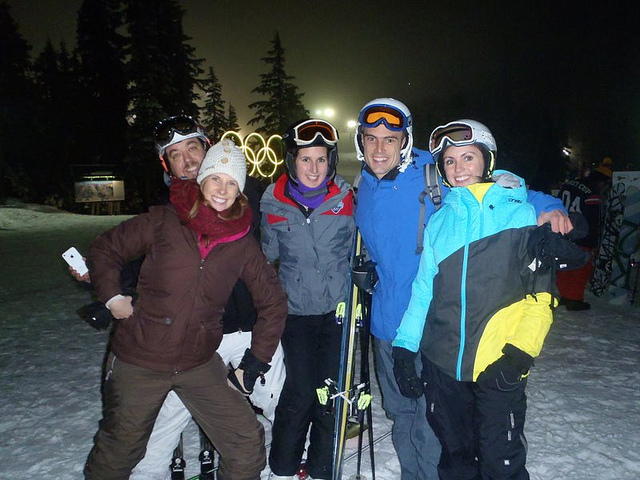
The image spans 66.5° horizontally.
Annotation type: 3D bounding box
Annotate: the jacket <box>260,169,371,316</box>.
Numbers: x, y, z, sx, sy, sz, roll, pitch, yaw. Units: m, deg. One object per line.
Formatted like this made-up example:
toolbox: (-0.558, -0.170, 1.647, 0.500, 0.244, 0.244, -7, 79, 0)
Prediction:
jacket: (-0.027, 0.059, 4.575, 1.245, 1.545, 0.788, -1, 5, -2)

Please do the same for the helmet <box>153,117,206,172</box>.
helmet: (-1.389, -0.956, 4.911, 0.416, 0.548, 0.520, -17, 11, -14)

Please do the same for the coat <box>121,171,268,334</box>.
coat: (-1.022, 0.151, 4.107, 1.334, 1.050, 0.434, -11, 32, -37)

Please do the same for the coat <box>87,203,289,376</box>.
coat: (-1.064, 0.383, 4.085, 1.701, 1.371, 0.918, 18, 2, -26)

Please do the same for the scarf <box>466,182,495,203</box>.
scarf: (1.310, -0.413, 4.028, 0.171, 0.183, 0.054, -7, -11, 8)

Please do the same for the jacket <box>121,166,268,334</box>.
jacket: (-0.997, -0.013, 5.063, 1.176, 1.700, 0.442, 6, -1, -23)

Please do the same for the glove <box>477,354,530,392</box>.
glove: (1.421, 1.029, 3.793, 0.319, 0.247, 0.269, 7, -18, -40)

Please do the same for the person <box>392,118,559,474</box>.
person: (1.274, 0.721, 4.013, 1.171, 2.366, 0.597, 4, 10, 26)

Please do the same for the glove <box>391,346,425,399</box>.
glove: (0.721, 1.098, 4.081, 0.141, 0.408, 0.292, -3, -20, 18)

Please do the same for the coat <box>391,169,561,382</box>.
coat: (1.332, 0.282, 4.174, 1.243, 1.683, 0.928, 4, 8, 28)

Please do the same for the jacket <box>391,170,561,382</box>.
jacket: (1.334, 0.296, 4.128, 1.247, 1.690, 0.955, 3, 3, 33)
